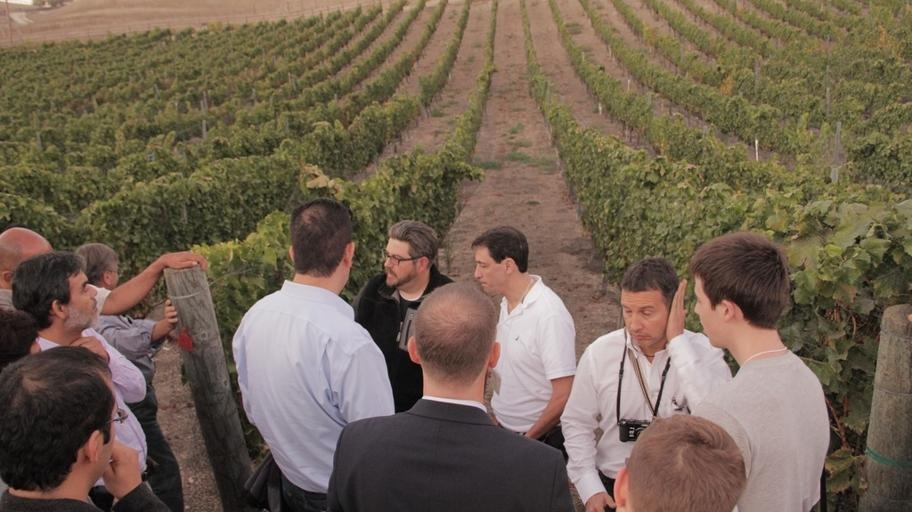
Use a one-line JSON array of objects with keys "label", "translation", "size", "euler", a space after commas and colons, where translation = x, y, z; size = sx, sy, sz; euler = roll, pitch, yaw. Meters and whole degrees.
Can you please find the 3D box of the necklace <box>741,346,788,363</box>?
[{"label": "necklace", "translation": [5.383, 1.684, 13.275], "size": [0.468, 0.111, 0.382], "euler": [-18, -7, 0]}]
